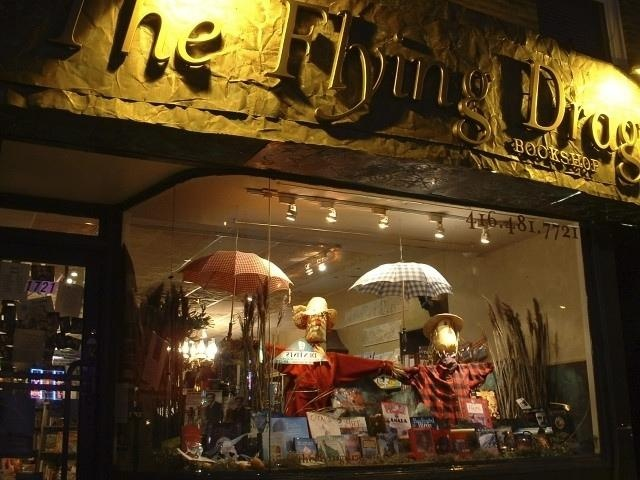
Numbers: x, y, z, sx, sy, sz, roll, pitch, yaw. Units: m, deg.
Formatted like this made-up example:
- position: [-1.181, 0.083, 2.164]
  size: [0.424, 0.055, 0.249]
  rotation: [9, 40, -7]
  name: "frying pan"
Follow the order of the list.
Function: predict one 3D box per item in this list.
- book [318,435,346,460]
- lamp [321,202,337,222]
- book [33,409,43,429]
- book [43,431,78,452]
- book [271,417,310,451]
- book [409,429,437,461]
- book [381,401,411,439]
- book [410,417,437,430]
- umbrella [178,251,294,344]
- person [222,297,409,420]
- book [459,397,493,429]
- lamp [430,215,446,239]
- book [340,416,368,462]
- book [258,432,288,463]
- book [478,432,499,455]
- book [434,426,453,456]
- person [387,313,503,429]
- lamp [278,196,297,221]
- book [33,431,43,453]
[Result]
- position: [0.070, 1.379, 3.902]
  size: [0.153, 0.159, 0.157]
  rotation: [2, -11, -11]
  name: "book"
- position: [0.066, -0.201, 4.196]
  size: [0.035, 0.132, 0.136]
  rotation: [-7, 7, 10]
  name: "lamp"
- position: [-1.963, 1.246, 4.070]
  size: [0.054, 0.133, 0.026]
  rotation: [8, -19, -28]
  name: "book"
- position: [-1.841, 1.415, 4.108]
  size: [0.149, 0.177, 0.054]
  rotation: [11, -27, -43]
  name: "book"
- position: [-0.207, 1.229, 3.844]
  size: [0.219, 0.229, 0.220]
  rotation: [2, -7, -19]
  name: "book"
- position: [0.714, 1.451, 4.128]
  size: [0.187, 0.201, 0.067]
  rotation: [-3, -12, -33]
  name: "book"
- position: [0.521, 1.272, 4.106]
  size: [0.237, 0.311, 0.040]
  rotation: [-6, -19, -42]
  name: "book"
- position: [0.740, 1.307, 4.194]
  size: [0.159, 0.096, 0.041]
  rotation: [6, -11, -20]
  name: "book"
- position: [-0.564, 0.331, 3.963]
  size: [0.406, 0.282, 0.415]
  rotation: [-10, -28, 45]
  name: "umbrella"
- position: [-0.084, 0.822, 3.970]
  size: [0.743, 0.799, 0.242]
  rotation: [6, -16, -17]
  name: "person"
- position: [1.170, 1.296, 4.370]
  size: [0.233, 0.230, 0.057]
  rotation: [1, -17, -25]
  name: "book"
- position: [0.902, -0.103, 4.522]
  size: [0.121, 0.186, 0.063]
  rotation: [1, -17, -6]
  name: "lamp"
- position: [0.220, 1.340, 3.970]
  size: [0.243, 0.259, 0.230]
  rotation: [-3, -10, 3]
  name: "book"
- position: [-0.318, 1.333, 3.752]
  size: [0.171, 0.179, 0.092]
  rotation: [5, -15, -27]
  name: "book"
- position: [1.245, 1.501, 4.330]
  size: [0.159, 0.157, 0.037]
  rotation: [8, -18, -26]
  name: "book"
- position: [0.874, 1.447, 4.188]
  size: [0.173, 0.196, 0.099]
  rotation: [-3, -3, -1]
  name: "book"
- position: [0.884, 0.985, 4.307]
  size: [0.770, 0.822, 0.234]
  rotation: [3, -16, -18]
  name: "person"
- position: [-0.216, -0.219, 4.076]
  size: [0.155, 0.163, 0.124]
  rotation: [2, -10, -6]
  name: "lamp"
- position: [-1.941, 1.394, 4.034]
  size: [0.013, 0.131, 0.067]
  rotation: [-16, -22, 42]
  name: "book"
